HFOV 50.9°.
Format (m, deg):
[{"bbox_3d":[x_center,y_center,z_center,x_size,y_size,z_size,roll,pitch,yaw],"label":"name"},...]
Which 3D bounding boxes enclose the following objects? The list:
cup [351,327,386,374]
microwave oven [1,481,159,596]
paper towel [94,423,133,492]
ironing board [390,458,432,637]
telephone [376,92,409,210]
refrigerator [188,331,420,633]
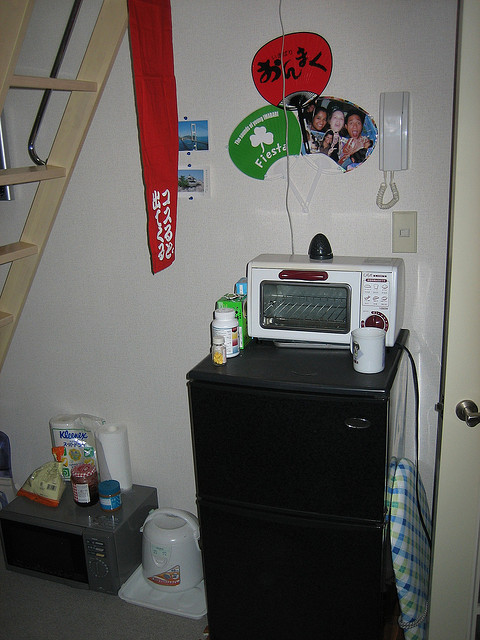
[{"bbox_3d":[0.311,0.074,1.220,0.079,0.097,0.108,7,14,39],"label":"cup"},{"bbox_3d":[-0.660,0.847,2.015,0.567,0.309,0.334,1,11,14],"label":"microwave oven"},{"bbox_3d":[-0.511,0.539,2.028,0.103,0.313,0.092,12,21,32],"label":"paper towel"},{"bbox_3d":[0.465,0.628,1.377,0.119,0.513,0.238,4,17,13],"label":"ironing board"},{"bbox_3d":[0.428,-0.473,1.413,0.065,0.322,0.070,3,19,14],"label":"telephone"},{"bbox_3d":[0.142,0.512,1.329,0.518,0.847,0.275,2,10,19],"label":"refrigerator"}]
